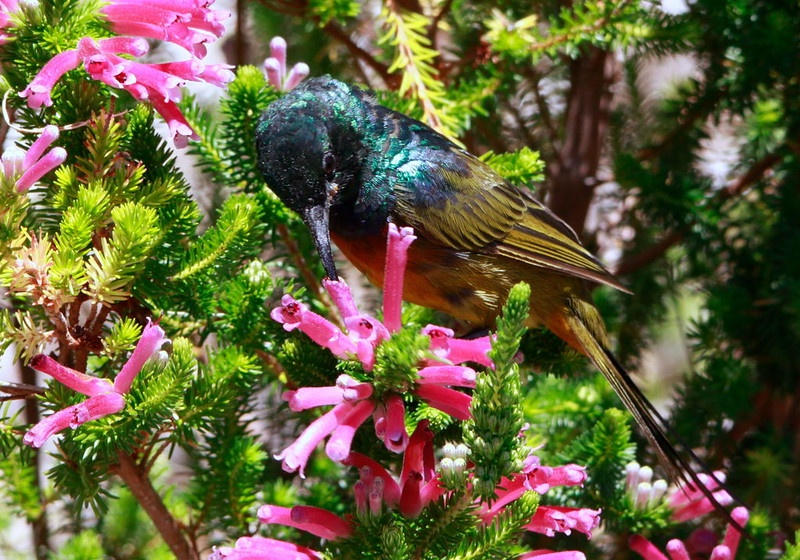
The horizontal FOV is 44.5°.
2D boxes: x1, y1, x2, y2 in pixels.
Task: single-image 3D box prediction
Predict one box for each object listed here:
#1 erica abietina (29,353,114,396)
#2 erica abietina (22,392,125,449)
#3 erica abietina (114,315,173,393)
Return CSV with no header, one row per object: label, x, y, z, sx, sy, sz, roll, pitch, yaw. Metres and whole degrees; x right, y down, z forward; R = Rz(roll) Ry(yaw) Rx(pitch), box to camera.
erica abietina,-1.045,0.317,3.125,0.264,0.079,0.073,27,-2,-21
erica abietina,-1.035,0.436,3.119,0.293,0.150,0.169,6,1,-27
erica abietina,-0.837,0.253,3.136,0.112,0.261,0.109,5,6,-12
